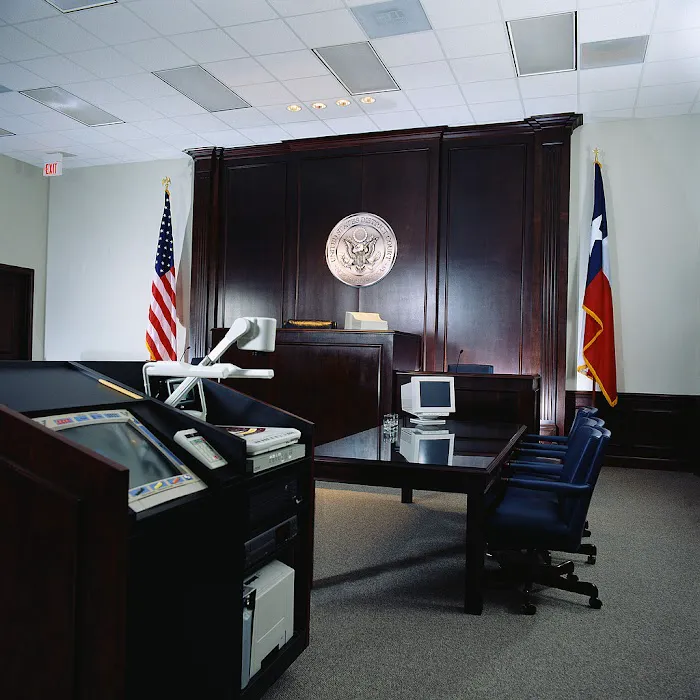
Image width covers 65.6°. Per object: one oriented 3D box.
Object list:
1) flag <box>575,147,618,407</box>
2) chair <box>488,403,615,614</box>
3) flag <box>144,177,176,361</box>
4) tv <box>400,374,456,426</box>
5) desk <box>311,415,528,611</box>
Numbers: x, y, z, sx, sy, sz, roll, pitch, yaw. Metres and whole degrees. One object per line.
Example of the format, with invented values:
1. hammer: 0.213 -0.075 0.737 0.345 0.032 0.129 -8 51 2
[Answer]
1. flag: 2.730 -0.796 5.967 0.411 2.830 0.439 0 -2 18
2. chair: 0.920 0.725 2.723 0.643 1.130 0.849 1 -2 10
3. flag: -2.503 -1.141 7.315 0.396 2.547 0.732 1 -2 -19
4. tv: 0.508 0.312 3.568 0.275 0.364 0.293 1 -3 -20
5. desk: 0.393 0.822 2.847 0.847 0.693 1.261 0 -2 23
